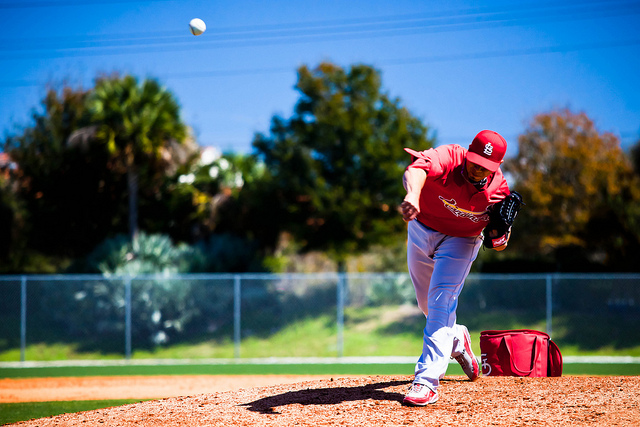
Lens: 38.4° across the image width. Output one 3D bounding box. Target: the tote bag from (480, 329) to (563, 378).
[{"bbox_3d":[3.865,2.808,18.174,1.677,0.879,1.230,-6,1,44],"label":"tote bag"}]
